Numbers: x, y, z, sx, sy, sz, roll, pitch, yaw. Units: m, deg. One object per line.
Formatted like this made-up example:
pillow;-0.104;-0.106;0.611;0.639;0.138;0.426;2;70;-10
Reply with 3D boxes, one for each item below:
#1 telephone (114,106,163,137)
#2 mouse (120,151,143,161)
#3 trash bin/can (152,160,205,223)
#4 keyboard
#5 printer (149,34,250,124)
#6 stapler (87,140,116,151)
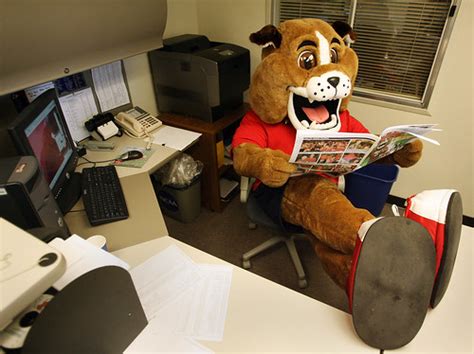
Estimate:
telephone;-0.660;-0.379;2.254;0.292;0.099;0.335;4;37;-11
mouse;-0.615;-0.131;1.956;0.098;0.034;0.063;-5;31;-8
trash bin/can;-0.451;0.119;2.552;0.365;0.397;0.271;18;40;26
keyboard;-0.668;0.069;1.687;0.186;0.053;0.377;-7;45;-26
printer;-0.240;-0.729;2.477;0.595;0.487;0.464;24;40;34
stapler;-0.824;-0.190;2.045;0.124;0.034;0.072;1;40;-1
